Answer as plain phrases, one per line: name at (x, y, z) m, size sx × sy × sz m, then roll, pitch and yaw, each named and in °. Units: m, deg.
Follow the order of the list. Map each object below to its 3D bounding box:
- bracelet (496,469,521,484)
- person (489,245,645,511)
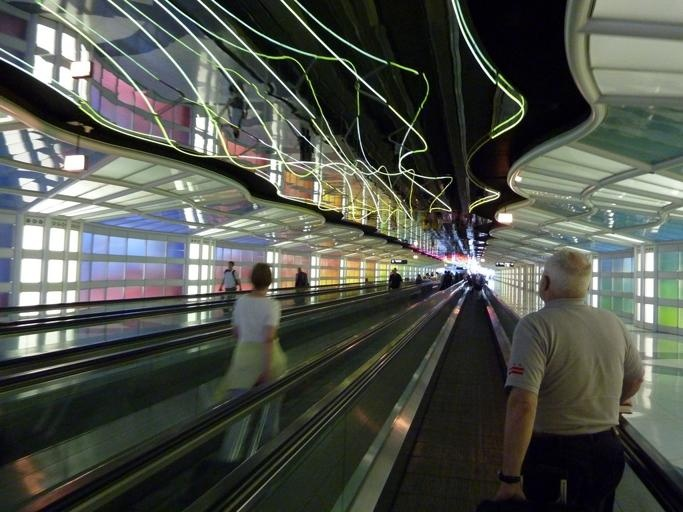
bracelet at (1.294, 1.726, 3.875) m, size 0.134 × 0.052 × 0.088 m, roll 2°, pitch -10°, yaw 8°
person at (1.752, 1.053, 4.047) m, size 1.469 × 1.972 × 0.419 m, roll -9°, pitch -6°, yaw -19°
